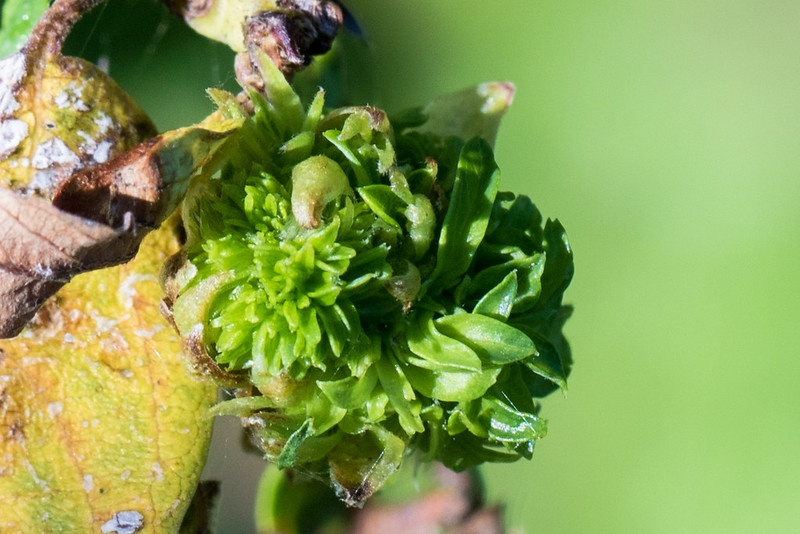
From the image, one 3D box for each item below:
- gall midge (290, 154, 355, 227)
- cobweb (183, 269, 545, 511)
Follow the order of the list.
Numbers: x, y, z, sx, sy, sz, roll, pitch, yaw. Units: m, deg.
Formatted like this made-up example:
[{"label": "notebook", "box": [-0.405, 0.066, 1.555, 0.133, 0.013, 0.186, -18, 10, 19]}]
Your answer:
[{"label": "gall midge", "box": [-0.074, -0.072, 0.918, 0.049, 0.017, 0.068, 10, 81, -16]}, {"label": "cobweb", "box": [-0.001, 0.074, 1.041, 0.250, 0.157, 0.270, 7, 8, 7]}]
